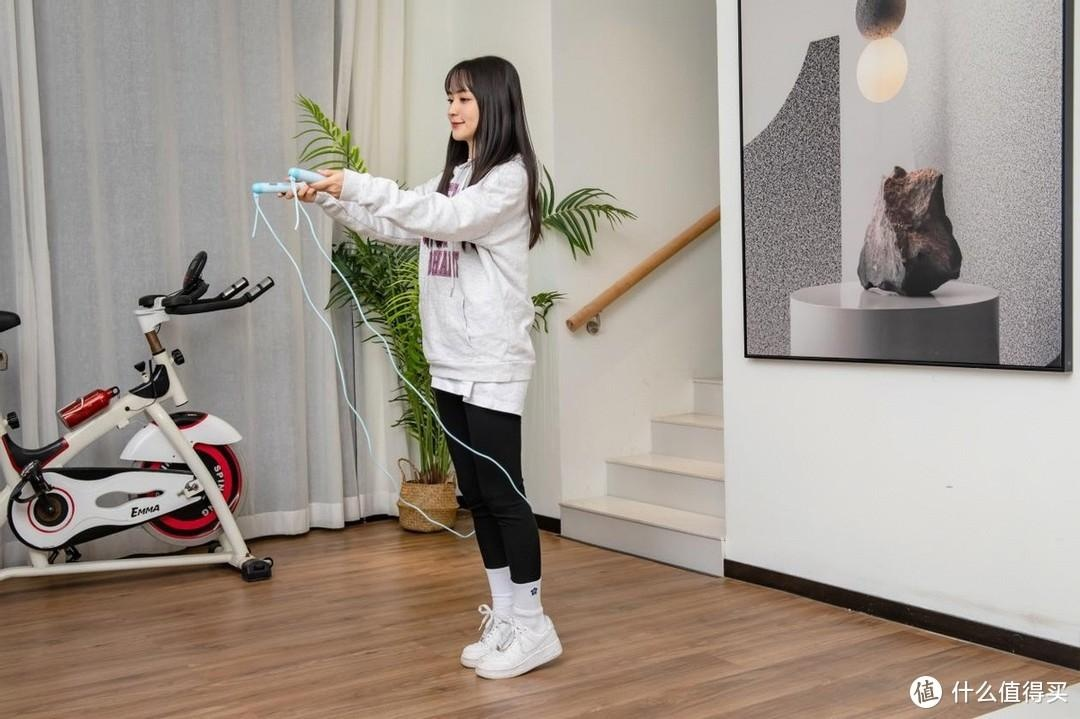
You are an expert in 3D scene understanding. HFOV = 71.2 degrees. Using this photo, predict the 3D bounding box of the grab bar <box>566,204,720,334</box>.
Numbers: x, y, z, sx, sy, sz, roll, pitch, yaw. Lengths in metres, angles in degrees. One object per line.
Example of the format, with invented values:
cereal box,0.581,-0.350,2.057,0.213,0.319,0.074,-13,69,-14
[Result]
grab bar,0.558,-0.525,4.340,0.080,0.219,1.134,24,54,40

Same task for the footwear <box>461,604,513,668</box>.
footwear,-0.208,1.016,2.735,0.112,0.176,0.265,-14,-10,39

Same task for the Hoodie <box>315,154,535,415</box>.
Hoodie,-0.398,-0.295,2.669,0.747,0.908,0.634,2,7,3

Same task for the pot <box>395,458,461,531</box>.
pot,-0.671,0.737,4.310,0.373,0.376,0.375,1,0,0

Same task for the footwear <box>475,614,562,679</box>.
footwear,-0.060,1.021,2.749,0.367,0.185,0.137,-8,0,-36
